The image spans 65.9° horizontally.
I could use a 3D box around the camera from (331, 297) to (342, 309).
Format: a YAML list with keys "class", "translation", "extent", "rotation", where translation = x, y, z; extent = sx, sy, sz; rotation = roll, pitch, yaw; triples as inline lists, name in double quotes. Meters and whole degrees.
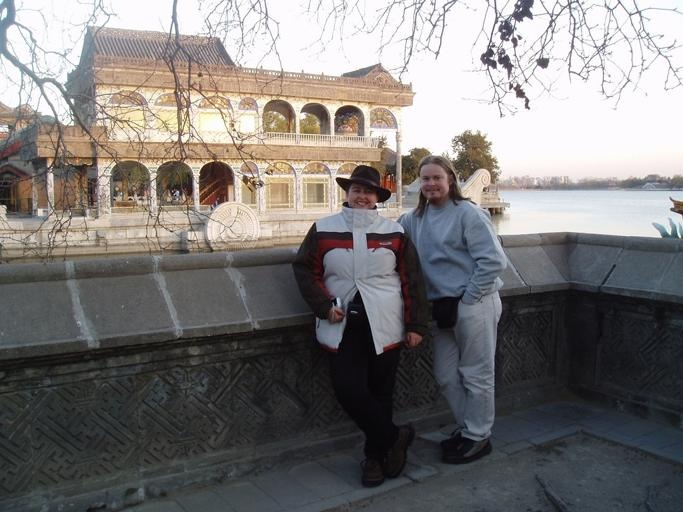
- class: "camera"
  translation: [-0.033, 0.310, 3.433]
  extent: [0.055, 0.104, 0.071]
  rotation: [-12, -1, -2]

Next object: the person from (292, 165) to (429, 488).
- class: "person"
  translation: [0.143, 0.438, 3.562]
  extent: [0.908, 2.105, 0.454]
  rotation: [-2, 5, -6]

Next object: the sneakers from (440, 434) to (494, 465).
- class: "sneakers"
  translation: [0.879, 1.360, 3.811]
  extent: [0.373, 0.264, 0.151]
  rotation: [-1, 7, -8]

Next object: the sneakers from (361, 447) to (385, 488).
- class: "sneakers"
  translation: [0.209, 1.382, 3.473]
  extent: [0.160, 0.238, 0.128]
  rotation: [-1, 5, -1]
